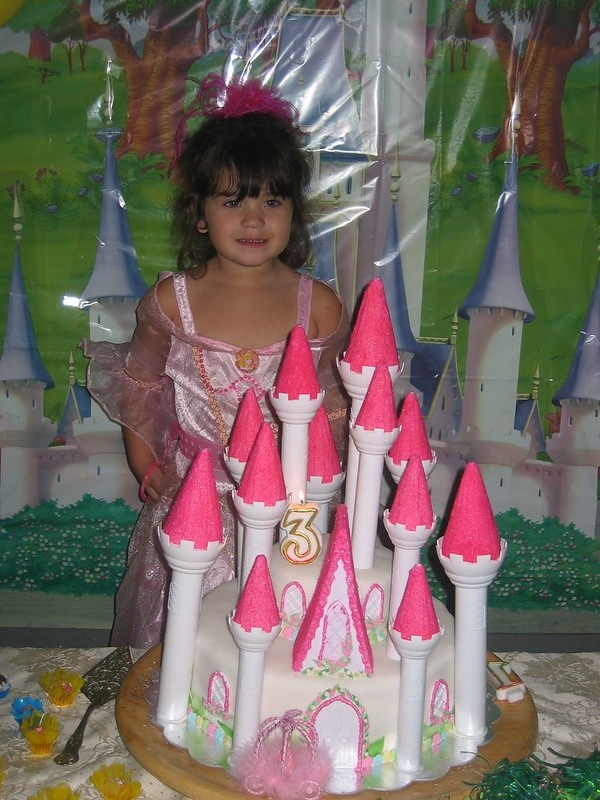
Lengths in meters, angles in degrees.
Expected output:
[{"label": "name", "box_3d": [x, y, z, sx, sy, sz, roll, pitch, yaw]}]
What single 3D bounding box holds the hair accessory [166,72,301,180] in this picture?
[{"label": "hair accessory", "box_3d": [-0.176, -0.715, 1.717, 0.326, 0.159, 0.412, 2, 10, -26]}]
